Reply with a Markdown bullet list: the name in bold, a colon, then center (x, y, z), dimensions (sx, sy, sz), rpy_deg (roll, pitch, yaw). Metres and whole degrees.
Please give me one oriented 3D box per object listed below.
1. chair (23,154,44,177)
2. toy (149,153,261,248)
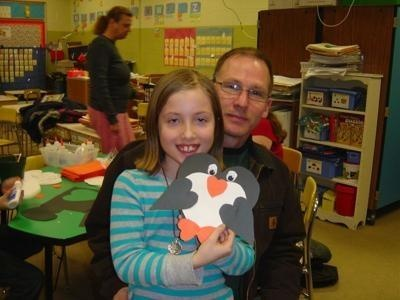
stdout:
- **chair**: center (-1.333, 0.116, 2.662), dimensions (0.147, 0.151, 0.154), rpy_deg (-1, 15, -19)
- **toy**: center (0.052, 0.159, 1.203), dimensions (0.358, 0.311, 0.139), rpy_deg (17, -9, 2)
